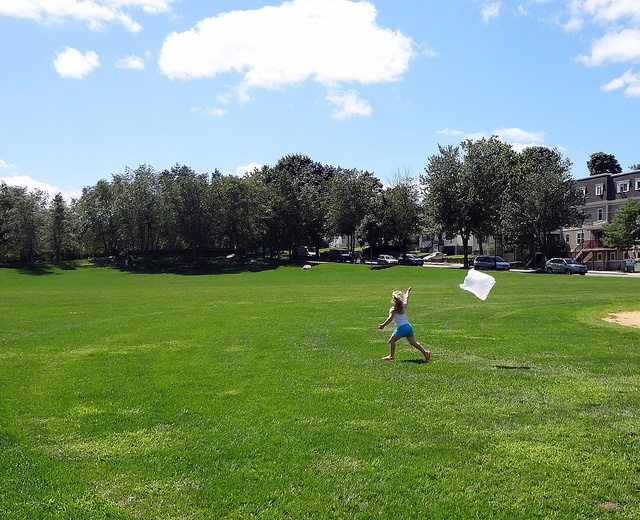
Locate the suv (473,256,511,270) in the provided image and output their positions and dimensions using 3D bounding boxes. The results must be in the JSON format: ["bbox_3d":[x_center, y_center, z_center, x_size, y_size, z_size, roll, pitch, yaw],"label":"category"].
[{"bbox_3d":[20.325,0.374,66.068,3.058,1.692,2.006,-1,2,22],"label":"suv"}]

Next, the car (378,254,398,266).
[{"bbox_3d":[9.966,-0.062,82.520,1.511,1.353,2.528,1,-6,-30],"label":"car"}]

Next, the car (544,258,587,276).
[{"bbox_3d":[26.411,0.643,59.318,1.915,1.536,3.550,1,-5,-22],"label":"car"}]

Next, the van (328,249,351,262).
[{"bbox_3d":[2.944,-0.774,92.714,3.424,2.025,2.454,-4,1,27],"label":"van"}]

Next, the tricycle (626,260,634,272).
[{"bbox_3d":[34.298,0.664,61.481,0.883,1.319,2.823,4,9,31],"label":"tricycle"}]

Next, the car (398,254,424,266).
[{"bbox_3d":[12.822,-0.073,77.665,1.601,1.348,2.668,2,-7,-38],"label":"car"}]

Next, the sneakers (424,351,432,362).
[{"bbox_3d":[2.620,2.288,13.514,0.137,0.276,0.491,1,7,12],"label":"sneakers"}]

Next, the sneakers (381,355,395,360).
[{"bbox_3d":[1.658,2.364,13.517,0.257,0.118,0.108,2,-9,15],"label":"sneakers"}]
